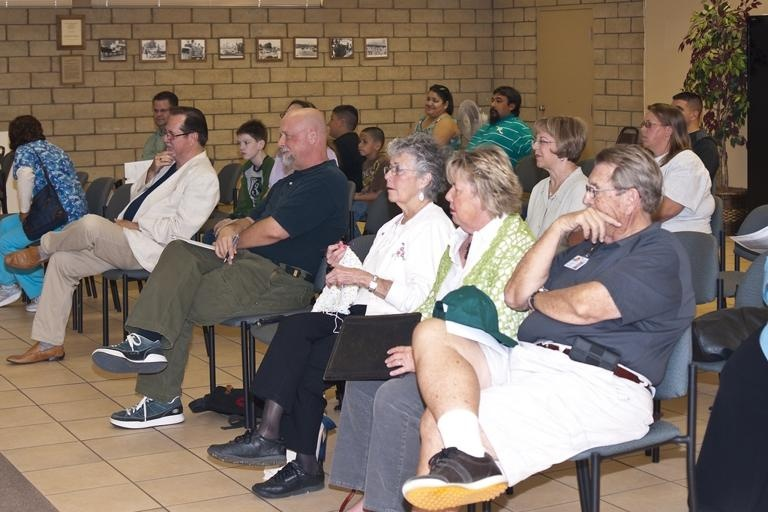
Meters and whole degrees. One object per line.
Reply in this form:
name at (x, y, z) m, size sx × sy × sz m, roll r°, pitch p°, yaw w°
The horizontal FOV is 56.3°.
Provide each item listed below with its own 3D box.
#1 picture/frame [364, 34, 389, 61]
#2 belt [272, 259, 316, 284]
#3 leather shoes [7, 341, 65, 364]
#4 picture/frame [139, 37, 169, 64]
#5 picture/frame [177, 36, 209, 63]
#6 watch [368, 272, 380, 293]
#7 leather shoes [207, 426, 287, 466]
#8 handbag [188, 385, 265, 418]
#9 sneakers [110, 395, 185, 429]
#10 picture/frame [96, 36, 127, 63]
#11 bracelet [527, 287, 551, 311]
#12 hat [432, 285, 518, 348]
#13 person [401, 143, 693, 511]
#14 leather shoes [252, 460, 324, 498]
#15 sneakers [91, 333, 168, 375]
picture/frame at (-0.137, -3.309, 11.370) m, size 0.464 × 0.381 × 0.046 m, roll -1°, pitch 3°, yaw -18°
belt at (-0.505, 0.097, 4.194) m, size 0.139 × 0.102 × 0.140 m, roll 24°, pitch -4°, yaw -21°
leather shoes at (-2.410, 0.694, 5.077) m, size 0.427 × 0.178 × 0.141 m, roll 5°, pitch 5°, yaw -23°
picture/frame at (-3.317, -2.959, 10.299) m, size 0.407 × 0.336 × 0.031 m, roll -2°, pitch 6°, yaw -28°
picture/frame at (-2.799, -3.019, 10.476) m, size 0.439 × 0.362 × 0.062 m, roll 0°, pitch 2°, yaw -17°
watch at (-0.036, 0.131, 3.406) m, size 0.052 × 0.079 × 0.080 m, roll 21°, pitch -26°, yaw 12°
leather shoes at (-0.695, 0.955, 3.615) m, size 0.420 × 0.184 × 0.159 m, roll 4°, pitch -5°, yaw -6°
handbag at (-0.971, 0.806, 4.237) m, size 0.323 × 0.122 × 0.256 m, roll 2°, pitch 1°, yaw 26°
sneakers at (-1.393, 0.910, 4.207) m, size 0.451 × 0.199 × 0.160 m, roll 2°, pitch 0°, yaw -14°
picture/frame at (-3.855, -2.914, 10.130) m, size 0.397 × 0.328 × 0.052 m, roll 3°, pitch -4°, yaw -21°
bracelet at (0.642, 0.182, 2.928) m, size 0.093 × 0.097 × 0.077 m, roll -4°, pitch -7°, yaw 37°
hat at (0.390, 0.227, 2.888) m, size 0.299 × 0.142 × 0.209 m, roll 26°, pitch -2°, yaw -17°
person at (0.611, 0.189, 2.723) m, size 1.206 × 1.156 × 0.521 m, roll -8°, pitch 16°, yaw -28°
leather shoes at (-0.451, 1.090, 3.505) m, size 0.380 × 0.166 × 0.132 m, roll 1°, pitch 1°, yaw -20°
sneakers at (-1.336, 0.566, 3.974) m, size 0.486 × 0.216 × 0.176 m, roll 6°, pitch -39°, yaw -8°
